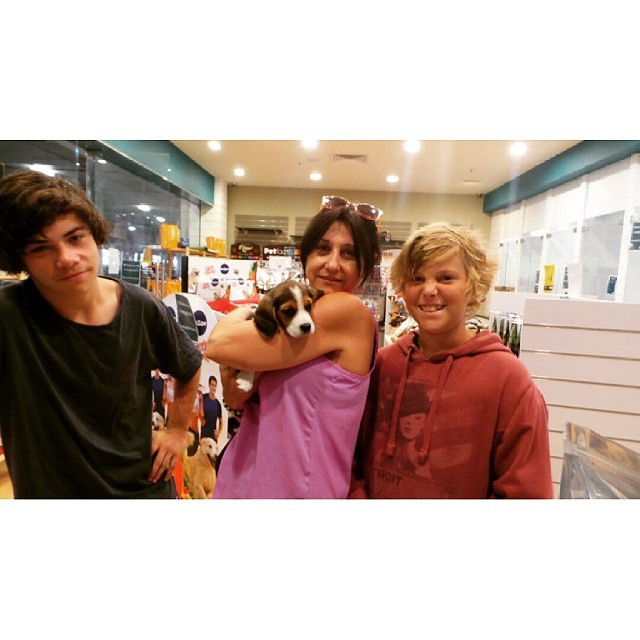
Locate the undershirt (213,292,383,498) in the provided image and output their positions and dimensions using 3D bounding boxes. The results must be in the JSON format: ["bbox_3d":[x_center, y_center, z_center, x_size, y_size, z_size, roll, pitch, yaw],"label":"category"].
[{"bbox_3d":[-0.141,0.297,1.868,0.593,0.711,0.995,2,-11,-9],"label":"undershirt"}]

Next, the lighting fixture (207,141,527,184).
[{"bbox_3d":[0.200,-0.682,2.174,1.405,0.198,0.449,2,5,5],"label":"lighting fixture"}]

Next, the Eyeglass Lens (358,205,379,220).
[{"bbox_3d":[0.157,-0.345,1.522,0.055,0.018,0.057,7,-10,35],"label":"Eyeglass Lens"}]

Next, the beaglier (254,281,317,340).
[{"bbox_3d":[-0.106,-0.029,1.392,0.148,0.122,0.184,-11,24,-29],"label":"beaglier"}]

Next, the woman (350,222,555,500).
[{"bbox_3d":[0.431,0.199,1.575,0.676,1.029,0.217,4,6,29],"label":"woman"}]
